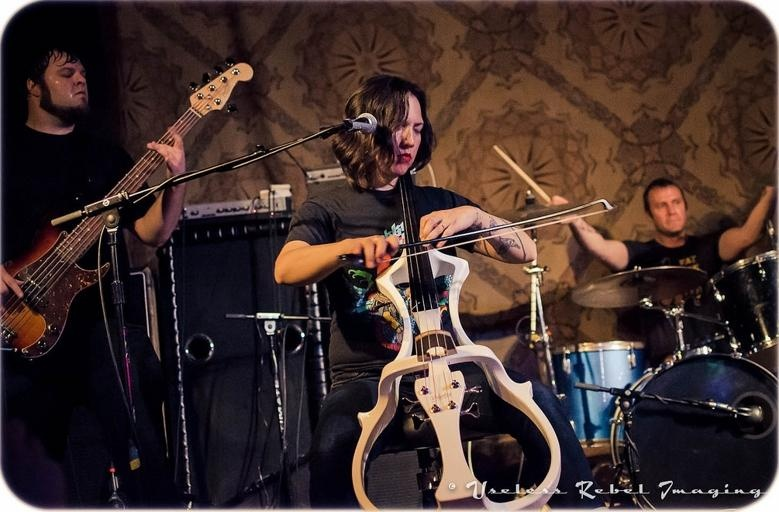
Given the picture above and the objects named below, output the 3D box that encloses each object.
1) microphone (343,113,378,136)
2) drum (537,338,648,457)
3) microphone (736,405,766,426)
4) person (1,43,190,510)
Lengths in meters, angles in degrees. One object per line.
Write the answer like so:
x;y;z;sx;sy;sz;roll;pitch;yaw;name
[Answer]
-0.178;-0.771;4.577;0.166;0.115;0.065;-28;22;-28;microphone
1.572;1.177;6.218;0.763;0.778;0.768;-2;-14;0;drum
2.451;1.093;5.222;0.182;0.127;0.057;4;-14;-16;microphone
-2.393;0.066;5.616;1.466;3.322;0.486;5;-8;-32;person
